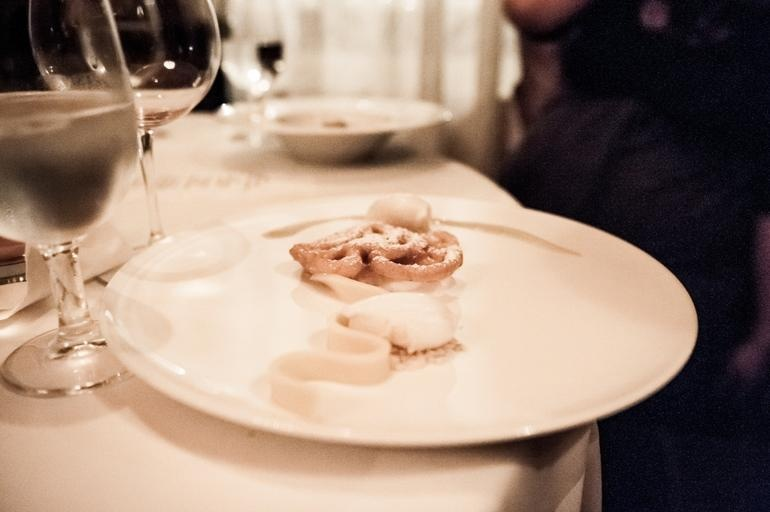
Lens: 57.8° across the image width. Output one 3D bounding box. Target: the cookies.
[{"bbox_3d":[-0.008,-0.003,1.098,0.181,0.034,0.126,3,13,-2],"label":"cookies"}]
